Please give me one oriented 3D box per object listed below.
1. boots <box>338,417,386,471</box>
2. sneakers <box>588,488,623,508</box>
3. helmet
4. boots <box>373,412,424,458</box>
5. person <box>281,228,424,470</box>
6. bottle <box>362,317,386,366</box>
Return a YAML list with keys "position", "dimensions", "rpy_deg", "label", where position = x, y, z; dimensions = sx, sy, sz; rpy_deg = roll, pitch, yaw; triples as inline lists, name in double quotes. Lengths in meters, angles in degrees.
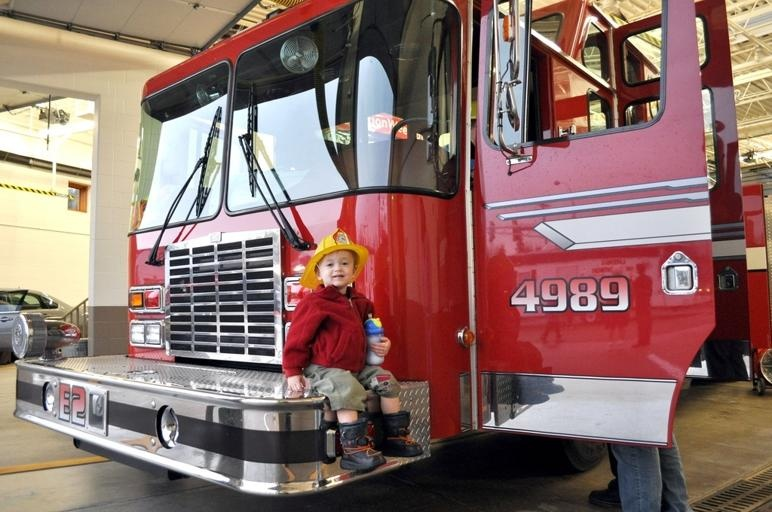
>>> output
- position: [-0.151, 1.111, 3.277]
  dimensions: [0.290, 0.298, 0.143]
  rpy_deg: [-8, -8, 31]
  label: "boots"
- position: [1.771, 1.929, 4.447]
  dimensions: [0.263, 0.107, 0.100]
  rpy_deg: [3, -2, 39]
  label: "sneakers"
- position: [-0.365, 0.046, 3.693]
  dimensions: [0.514, 0.198, 0.382]
  rpy_deg: [-8, 19, -2]
  label: "helmet"
- position: [0.097, 1.108, 3.468]
  dimensions: [0.284, 0.280, 0.168]
  rpy_deg: [-7, -9, 30]
  label: "boots"
- position: [-0.228, 0.551, 3.476]
  dimensions: [0.826, 1.445, 0.515]
  rpy_deg: [1, -3, -11]
  label: "person"
- position: [-0.076, 0.559, 3.593]
  dimensions: [0.149, 0.305, 0.157]
  rpy_deg: [-3, 0, 0]
  label: "bottle"
